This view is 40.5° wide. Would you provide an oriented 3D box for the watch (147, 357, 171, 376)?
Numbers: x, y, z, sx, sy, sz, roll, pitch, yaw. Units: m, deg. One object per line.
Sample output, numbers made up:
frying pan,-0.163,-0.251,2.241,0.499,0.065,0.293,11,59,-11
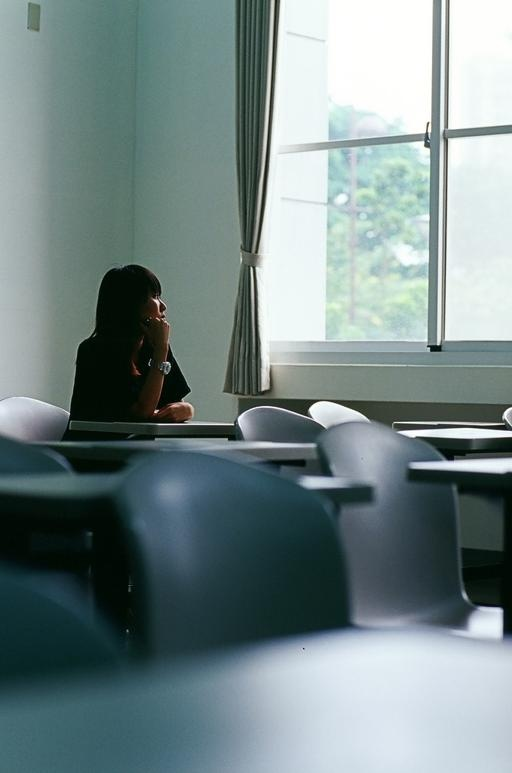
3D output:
watch,-0.325,-0.066,2.351,0.066,0.045,0.069,4,0,-15
